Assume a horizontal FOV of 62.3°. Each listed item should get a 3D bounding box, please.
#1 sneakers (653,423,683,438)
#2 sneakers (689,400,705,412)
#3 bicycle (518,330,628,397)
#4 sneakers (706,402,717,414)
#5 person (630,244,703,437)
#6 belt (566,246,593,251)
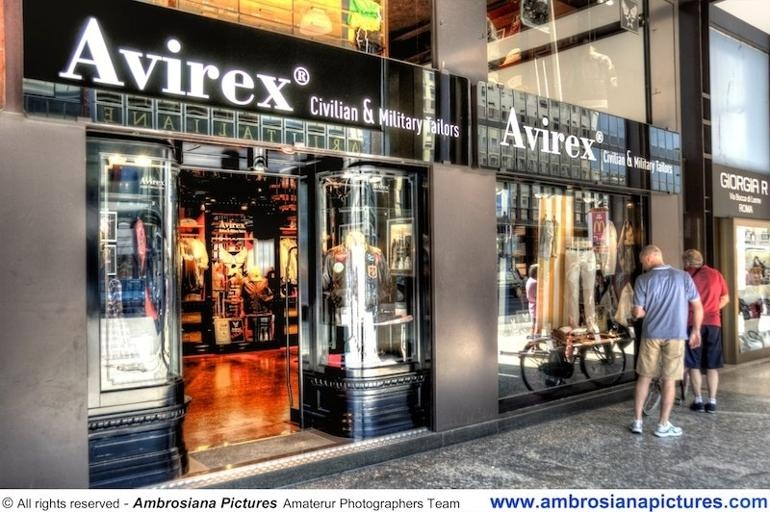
[{"bbox_3d":[3.144,1.931,7.080,0.300,0.146,0.136,-2,3,-21],"label":"sneakers"},{"bbox_3d":[3.927,1.866,8.001,0.085,0.085,0.202,0,1,12],"label":"sneakers"},{"bbox_3d":[2.514,1.406,8.441,1.738,0.779,0.355,-2,2,-22],"label":"bicycle"},{"bbox_3d":[4.070,1.856,7.965,0.114,0.131,0.214,-3,0,29],"label":"sneakers"},{"bbox_3d":[3.177,0.927,7.239,0.856,2.136,0.416,-2,-1,6],"label":"person"},{"bbox_3d":[2.640,-0.101,8.651,0.592,0.051,0.031,-2,0,-42],"label":"belt"}]
